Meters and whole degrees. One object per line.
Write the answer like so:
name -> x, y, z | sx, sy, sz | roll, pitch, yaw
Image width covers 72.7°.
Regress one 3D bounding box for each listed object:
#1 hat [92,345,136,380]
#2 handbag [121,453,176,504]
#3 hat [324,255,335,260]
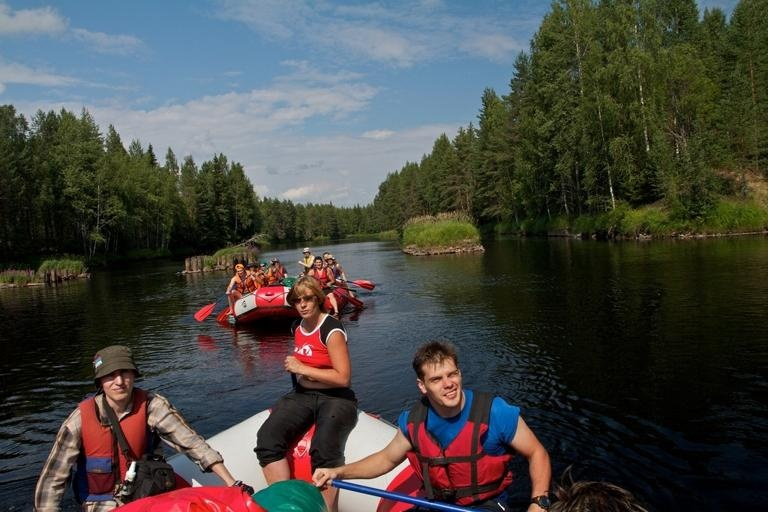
hat -> -2.800, 1.090, 5.397 | 0.432, 0.361, 0.342 | -5, 4, 44
handbag -> -2.390, 2.235, 5.245 | 0.505, 0.465, 0.213 | -7, 3, 3
hat -> -1.893, 0.036, 18.113 | 0.335, 0.154, 0.477 | 0, 1, -5
